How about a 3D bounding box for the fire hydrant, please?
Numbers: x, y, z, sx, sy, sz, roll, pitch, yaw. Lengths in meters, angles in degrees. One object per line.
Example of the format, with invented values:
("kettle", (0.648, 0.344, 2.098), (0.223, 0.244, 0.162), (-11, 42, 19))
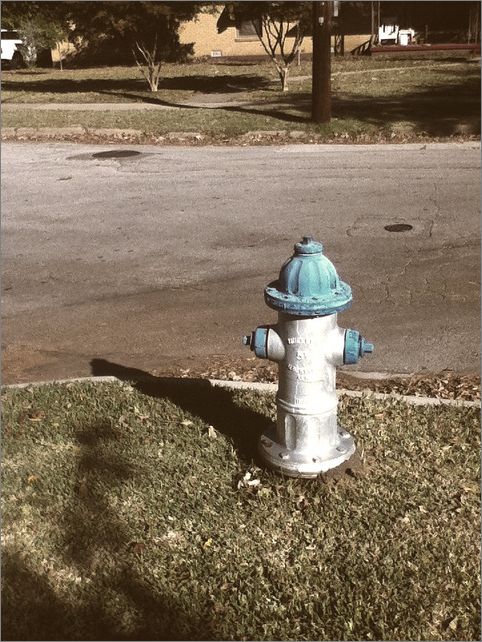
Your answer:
("fire hydrant", (0.371, 0.217, 5.232), (0.669, 1.402, 0.470), (-1, 15, 0))
